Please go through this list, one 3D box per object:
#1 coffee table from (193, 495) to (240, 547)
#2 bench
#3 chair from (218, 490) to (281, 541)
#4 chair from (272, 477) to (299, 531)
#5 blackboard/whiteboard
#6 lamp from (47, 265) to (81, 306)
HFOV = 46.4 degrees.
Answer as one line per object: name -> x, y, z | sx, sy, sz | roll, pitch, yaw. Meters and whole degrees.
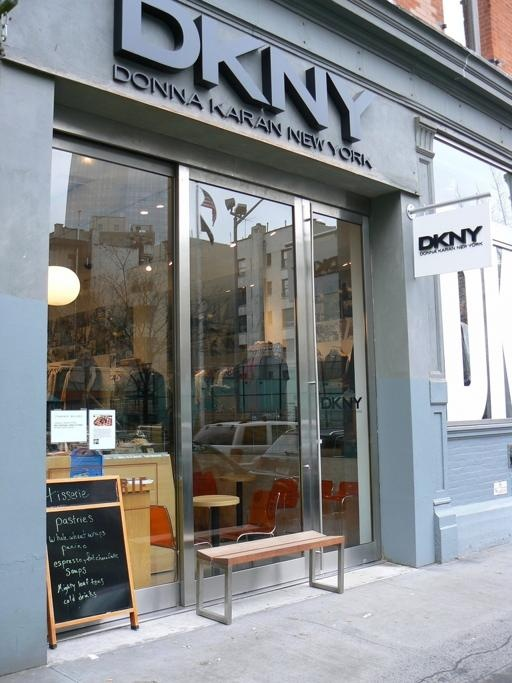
coffee table -> -0.300, 1.370, 4.662 | 0.362, 0.415, 0.372 | 2, -10, -13
bench -> 0.133, 1.759, 4.519 | 1.167, 0.465, 0.366 | 6, -10, -38
chair -> -0.080, 1.547, 4.979 | 0.422, 0.608, 0.323 | 11, -14, -37
chair -> 0.192, 1.463, 5.318 | 0.353, 0.467, 0.327 | -6, -13, 18
blackboard/whiteboard -> -1.022, 1.279, 3.699 | 0.270, 0.816, 0.584 | -4, -10, 42
lamp -> -1.269, -0.359, 3.927 | 0.266, 0.231, 0.233 | 8, 20, 8
